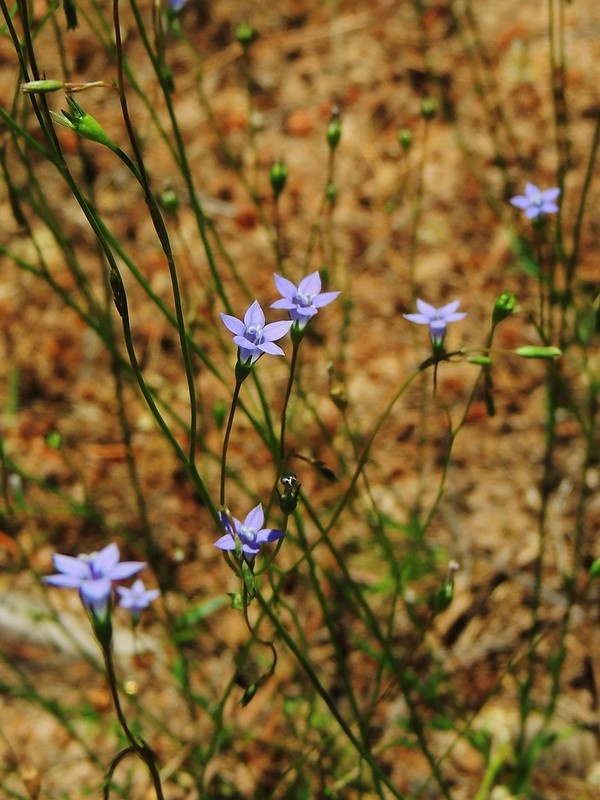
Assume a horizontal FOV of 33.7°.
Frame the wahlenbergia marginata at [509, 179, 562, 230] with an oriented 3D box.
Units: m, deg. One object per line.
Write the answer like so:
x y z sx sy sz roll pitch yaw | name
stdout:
0.831 -0.697 3.523 0.160 0.147 0.185 -9 27 6 | wahlenbergia marginata

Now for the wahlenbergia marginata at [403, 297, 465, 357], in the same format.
0.480 -0.257 3.523 0.243 0.183 0.222 -11 22 -17 | wahlenbergia marginata

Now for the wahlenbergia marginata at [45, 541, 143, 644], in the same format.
-0.543 0.500 2.666 0.240 0.270 0.189 -20 29 -16 | wahlenbergia marginata

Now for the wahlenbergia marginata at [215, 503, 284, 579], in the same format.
-0.152 0.405 2.880 0.168 0.091 0.162 -15 38 -26 | wahlenbergia marginata

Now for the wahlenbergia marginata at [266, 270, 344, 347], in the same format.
0.006 -0.299 3.012 0.237 0.144 0.200 -30 65 -28 | wahlenbergia marginata

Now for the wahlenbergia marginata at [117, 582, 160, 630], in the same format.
-0.580 0.737 3.517 0.151 0.165 0.126 13 63 0 | wahlenbergia marginata

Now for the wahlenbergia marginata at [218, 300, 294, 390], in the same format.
-0.108 -0.181 2.890 0.180 0.251 0.279 -8 27 9 | wahlenbergia marginata
